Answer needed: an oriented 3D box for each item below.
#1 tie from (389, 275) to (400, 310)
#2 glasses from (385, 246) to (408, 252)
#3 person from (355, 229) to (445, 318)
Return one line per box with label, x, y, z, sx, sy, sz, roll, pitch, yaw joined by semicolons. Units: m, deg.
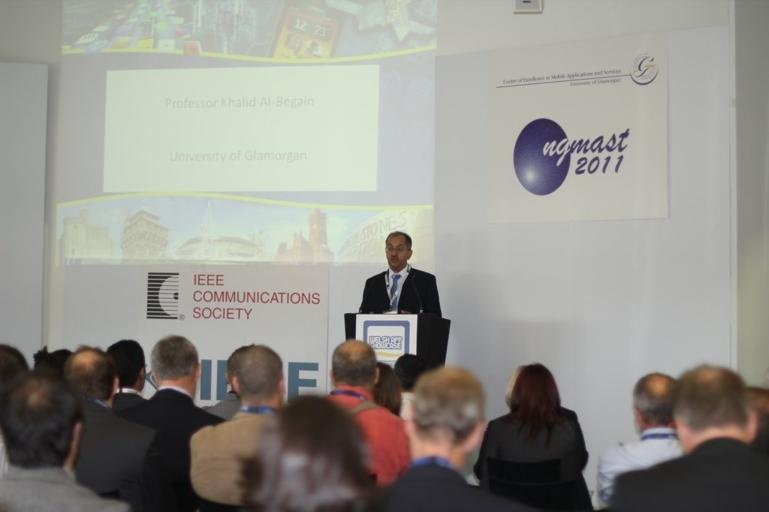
tie;0.105;0.357;7.036;0.093;0.344;0.097;2;-3;0
glasses;0.123;-0.060;7.042;0.203;0.075;0.085;1;-3;8
person;0.154;0.164;7.050;0.782;0.783;0.336;1;-3;3
